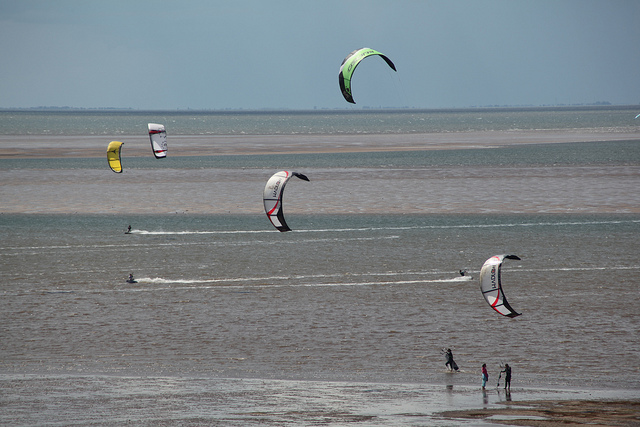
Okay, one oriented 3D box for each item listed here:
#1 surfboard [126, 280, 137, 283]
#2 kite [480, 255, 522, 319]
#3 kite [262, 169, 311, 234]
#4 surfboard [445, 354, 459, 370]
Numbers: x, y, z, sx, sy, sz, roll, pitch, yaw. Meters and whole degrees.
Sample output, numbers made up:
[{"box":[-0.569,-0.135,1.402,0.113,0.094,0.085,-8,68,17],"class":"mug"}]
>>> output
[{"box":[-9.401,3.404,64.870,0.496,0.137,0.202,-1,-16,-6],"class":"surfboard"},{"box":[8.720,3.327,58.894,2.213,2.612,2.133,-3,6,4],"class":"kite"},{"box":[-1.398,-0.589,65.369,2.652,3.275,2.529,-15,10,-20],"class":"kite"},{"box":[5.901,6.645,57.475,0.508,0.707,0.614,-6,-17,5],"class":"surfboard"}]
